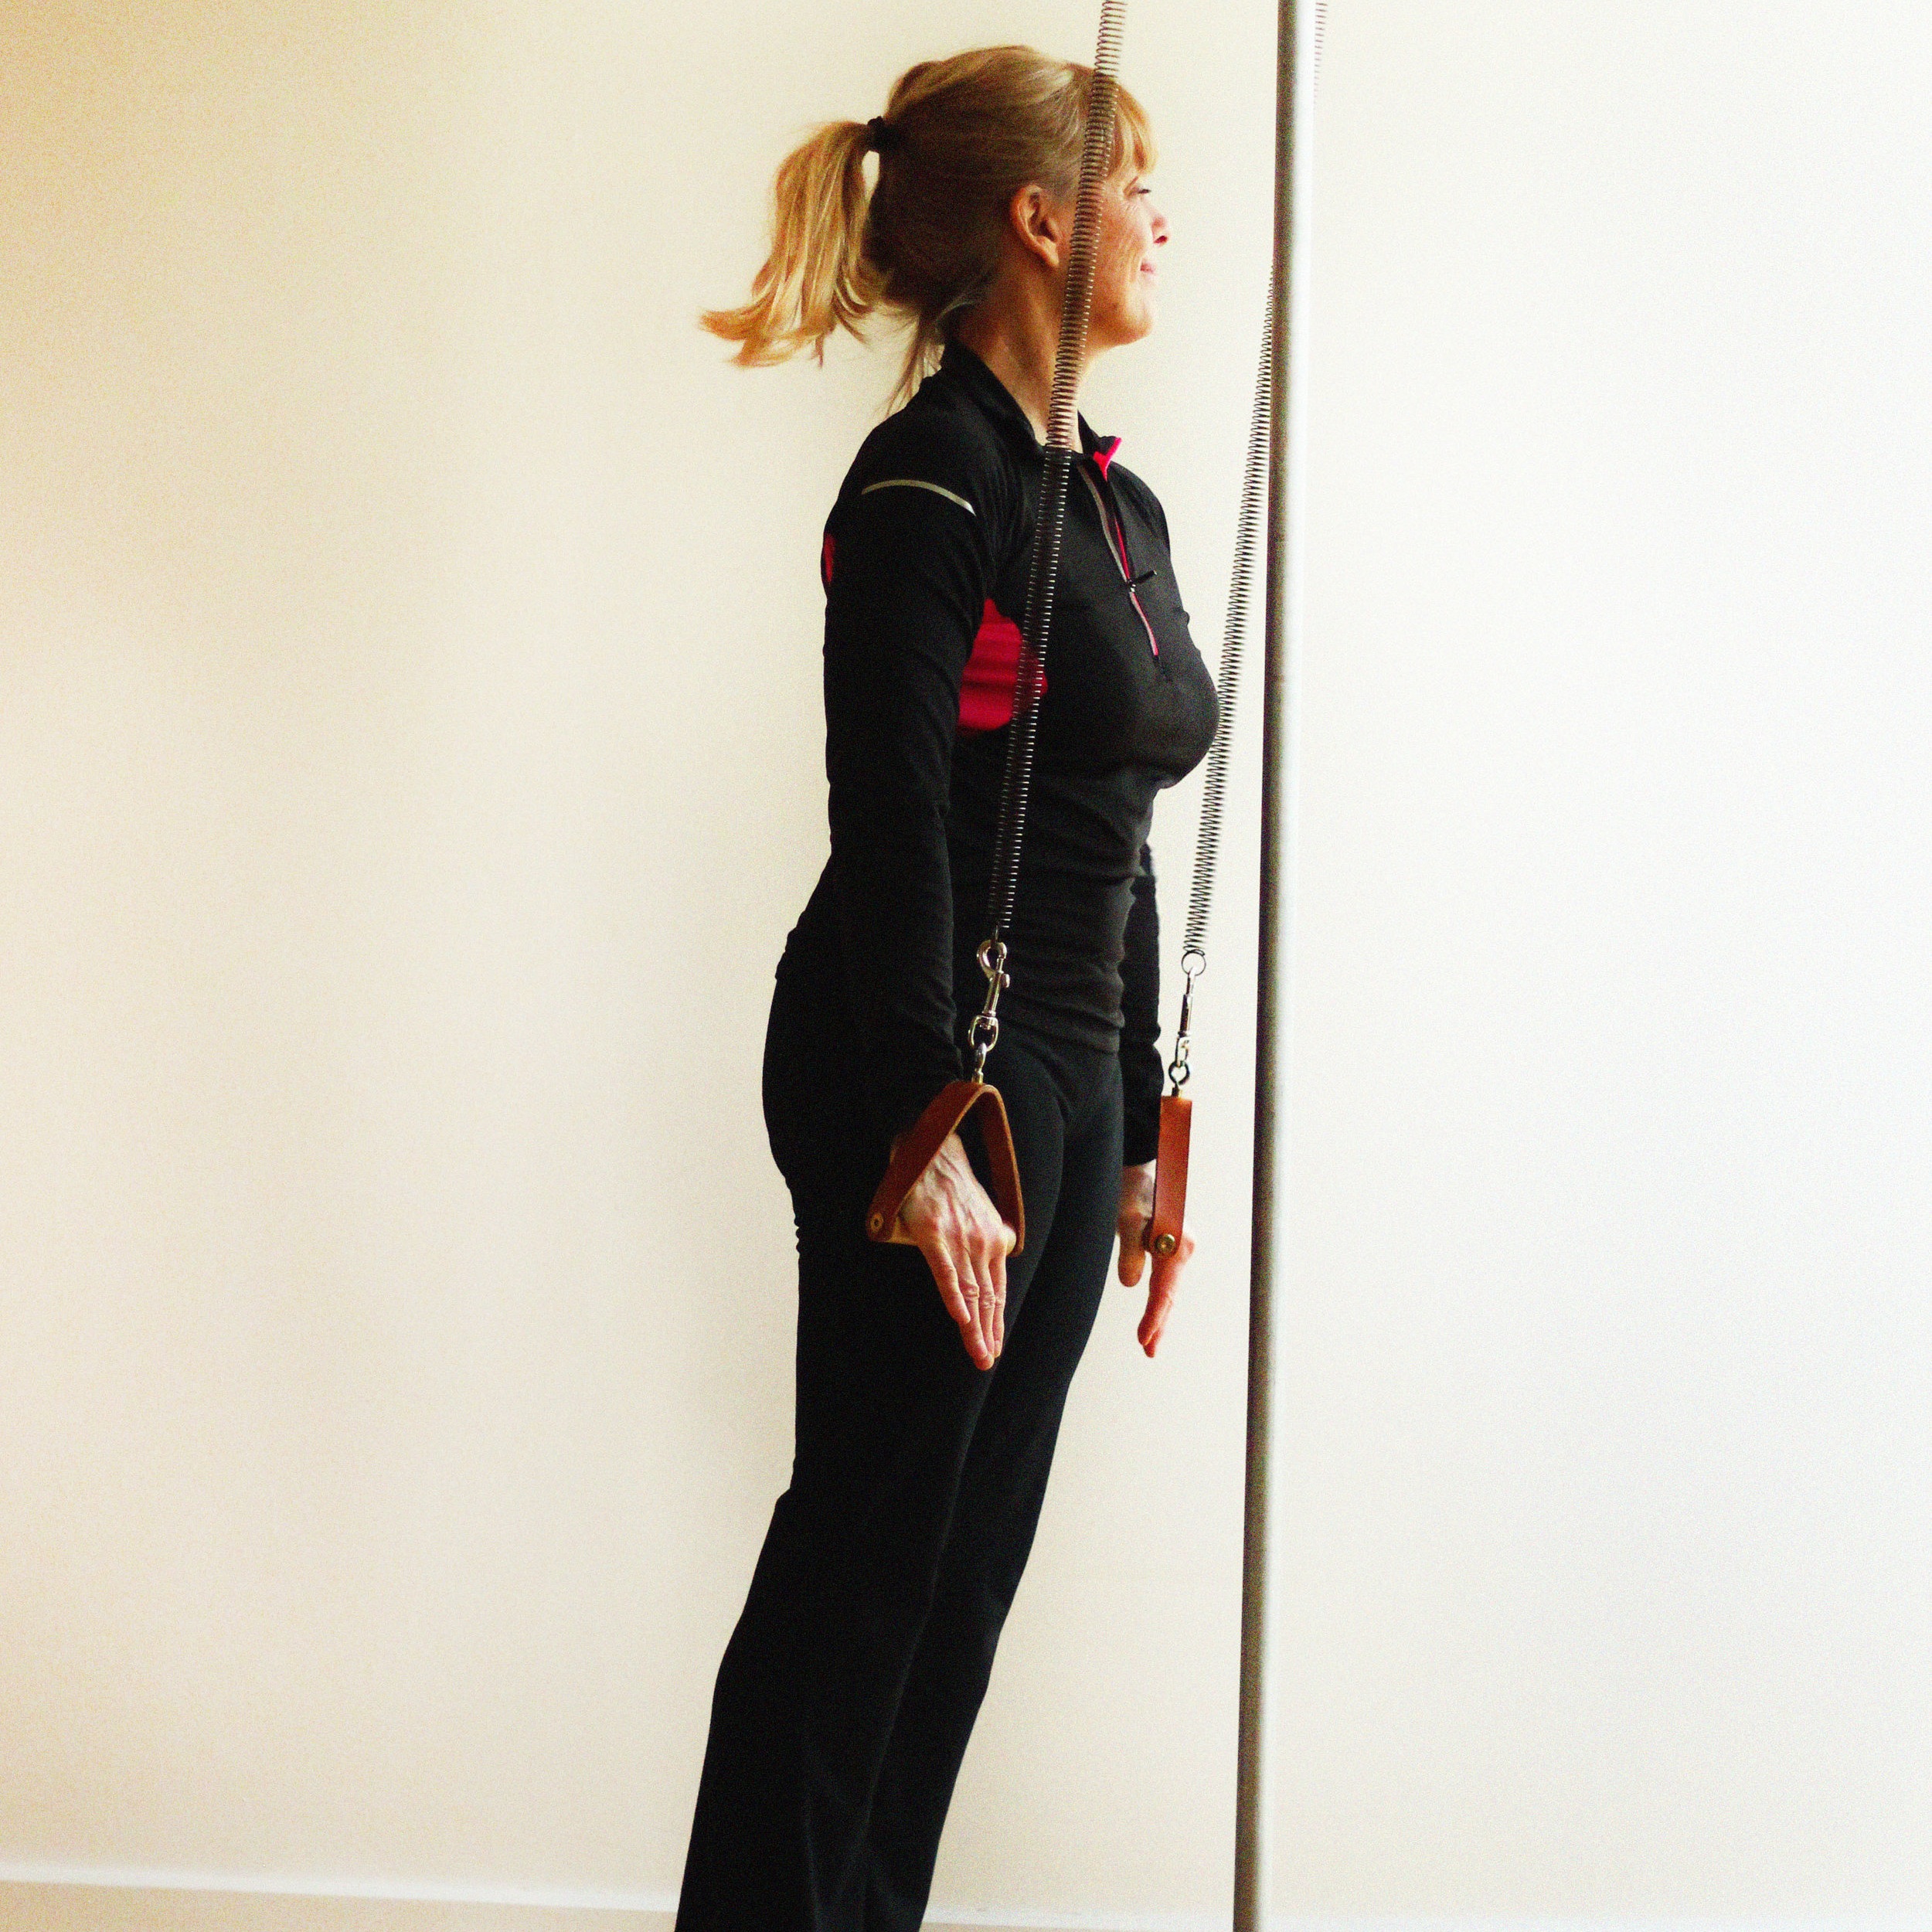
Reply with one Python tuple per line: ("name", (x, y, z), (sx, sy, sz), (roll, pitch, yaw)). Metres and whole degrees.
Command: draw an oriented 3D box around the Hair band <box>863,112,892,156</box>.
("Hair band", (-0.074, -0.718, 2.370), (0.015, 0.031, 0.027), (-2, -80, 22))
